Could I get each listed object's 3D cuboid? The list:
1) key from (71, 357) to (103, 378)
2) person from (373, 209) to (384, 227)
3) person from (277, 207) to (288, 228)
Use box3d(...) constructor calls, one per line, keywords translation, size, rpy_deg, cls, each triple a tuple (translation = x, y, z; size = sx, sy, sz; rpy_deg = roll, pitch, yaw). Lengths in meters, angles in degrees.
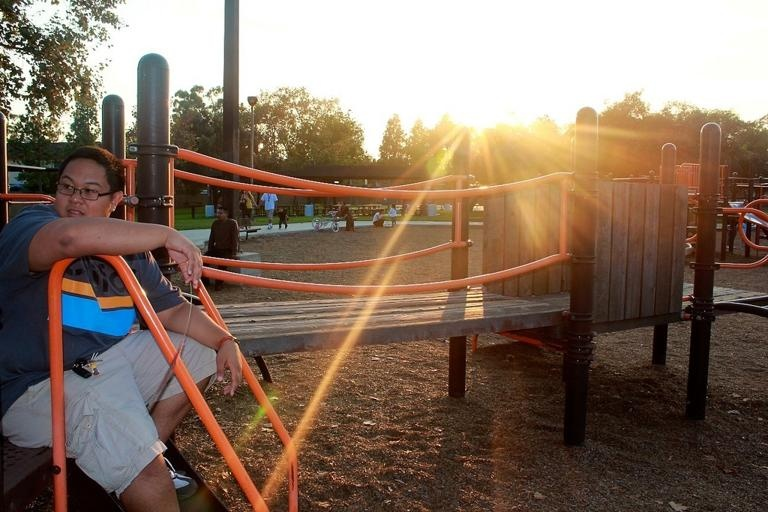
box3d(translation=(-1.344, 0.501, 2.549), size=(0.075, 0.041, 0.103), rpy_deg=(20, 12, 6), cls="key")
box3d(translation=(-0.246, -1.966, 30.064), size=(0.512, 0.760, 1.150), rpy_deg=(0, 10, -4), cls="person")
box3d(translation=(-4.914, -1.857, 27.375), size=(0.403, 1.563, 0.814), rpy_deg=(-3, 7, -1), cls="person")
